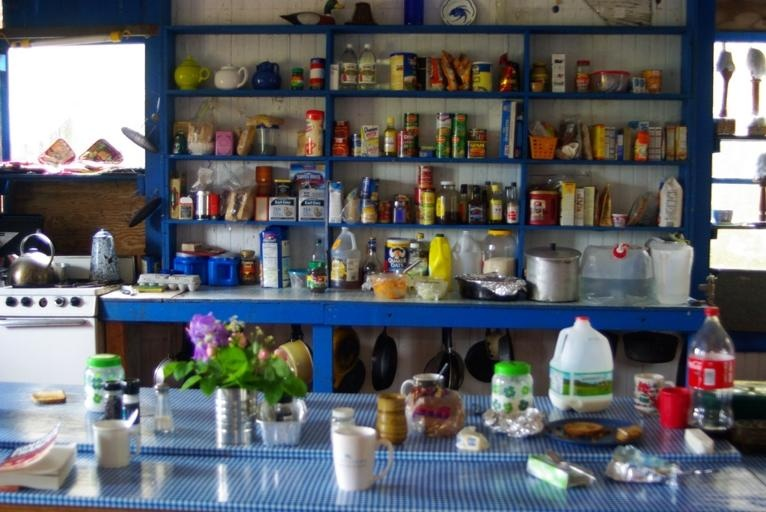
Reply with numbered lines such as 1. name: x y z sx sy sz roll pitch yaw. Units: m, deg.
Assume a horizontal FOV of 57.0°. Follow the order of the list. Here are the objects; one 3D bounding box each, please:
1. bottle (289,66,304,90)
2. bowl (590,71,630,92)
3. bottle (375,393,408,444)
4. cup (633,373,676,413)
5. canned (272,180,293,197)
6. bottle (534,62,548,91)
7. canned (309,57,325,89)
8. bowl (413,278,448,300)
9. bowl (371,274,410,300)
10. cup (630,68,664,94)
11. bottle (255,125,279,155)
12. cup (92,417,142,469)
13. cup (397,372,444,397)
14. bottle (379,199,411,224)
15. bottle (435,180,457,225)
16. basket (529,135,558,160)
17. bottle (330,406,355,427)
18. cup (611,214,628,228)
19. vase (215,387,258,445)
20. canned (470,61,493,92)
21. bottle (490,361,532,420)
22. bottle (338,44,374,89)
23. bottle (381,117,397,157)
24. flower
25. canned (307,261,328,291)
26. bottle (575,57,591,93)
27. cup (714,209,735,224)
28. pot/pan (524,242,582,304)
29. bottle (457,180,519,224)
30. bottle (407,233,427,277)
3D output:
1. bottle: -0.577 -1.187 4.722 0.103 0.170 0.209 -2 6 -6
2. bowl: 1.475 -1.105 4.556 0.174 0.085 0.169 0 5 0
3. bottle: 0.034 0.625 2.737 0.161 0.228 0.158 0 -2 0
4. cup: 1.140 0.584 3.010 0.185 0.154 0.116 -1 -1 17
5. canned: -0.671 -0.460 4.748 0.118 0.112 0.119 -1 10 -11
6. bottle: 1.045 -1.167 4.622 0.147 0.184 0.068 -6 7 -41
7. canned: -0.427 -1.202 4.646 0.093 0.191 0.038 -3 5 -16
8. bowl: 0.290 0.188 4.296 0.151 0.086 0.141 0 3 0
9. bowl: 0.038 0.185 4.337 0.165 0.086 0.163 -1 0 0
10. cup: 1.718 -1.130 4.607 0.197 0.140 0.158 0 1 9
11. bottle: -0.787 -0.786 4.758 0.184 0.190 0.183 0 -1 -1
12. cup: -0.972 0.693 2.623 0.167 0.145 0.132 2 -1 -9
13. cup: 0.150 0.527 2.835 0.151 0.104 0.096 0 3 7
14. bottle: 0.069 -0.298 4.685 0.168 0.118 0.169 2 3 0
15. bottle: 0.424 -0.345 4.695 0.152 0.241 0.111 -1 5 5
16. basket: 1.035 -0.703 4.571 0.184 0.124 0.132 -2 6 -11
17. bottle: -0.160 0.601 2.681 0.086 0.082 0.087 1 2 29
18. cup: 1.535 -0.231 4.573 0.086 0.065 0.086 0 9 0
19. vase: -0.579 0.616 2.747 0.176 0.199 0.178 -3 -8 21
20. canned: 0.640 -1.171 4.677 0.178 0.191 0.176 1 -1 -37
21. bottle: 0.503 0.540 2.859 0.191 0.217 0.191 0 1 0
22. bottle: -0.173 -1.263 4.696 0.234 0.299 0.202 -1 5 -3
23. bottle: 0.046 -0.794 4.713 0.089 0.257 0.143 -2 5 -12
24. flower: -0.554 0.369 2.705 0.558 0.289 0.552 5 4 21
25. canned: -0.413 0.122 4.536 0.160 0.228 0.159 0 2 -8
26. bottle: 1.305 -1.165 4.583 0.094 0.218 0.141 0 5 12
27. cup: 2.243 -0.262 4.631 0.087 0.072 0.097 1 -2 -23
28. pot/pan: 1.018 0.092 4.244 0.354 0.340 0.339 0 1 9
29. bottle: 0.700 -0.355 4.688 0.397 0.270 0.253 0 6 10
30. bottle: 0.233 -0.013 4.662 0.131 0.260 0.353 -1 6 3
